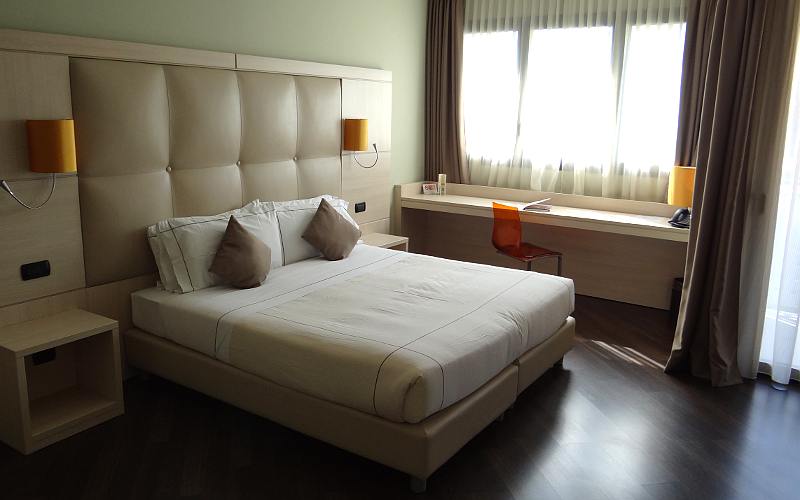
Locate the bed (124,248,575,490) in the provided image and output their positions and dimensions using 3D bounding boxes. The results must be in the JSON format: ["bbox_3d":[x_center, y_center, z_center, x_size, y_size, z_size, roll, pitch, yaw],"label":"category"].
[{"bbox_3d":[-0.460,0.637,3.664,1.910,0.588,1.846,10,16,34],"label":"bed"}]

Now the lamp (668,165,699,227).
[{"bbox_3d":[2.720,-0.522,5.109,0.204,0.555,0.435,8,18,24],"label":"lamp"}]

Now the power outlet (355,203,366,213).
[{"bbox_3d":[-0.425,-0.454,5.683,0.094,0.122,0.173,6,10,32],"label":"power outlet"}]

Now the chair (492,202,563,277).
[{"bbox_3d":[1.391,-0.137,5.607,0.601,1.009,0.541,-12,17,-23],"label":"chair"}]

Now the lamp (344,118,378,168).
[{"bbox_3d":[-0.370,-1.095,5.534,0.225,0.532,0.501,10,18,29],"label":"lamp"}]

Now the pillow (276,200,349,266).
[{"bbox_3d":[-0.791,-0.125,4.695,0.093,0.337,0.495,-16,12,46],"label":"pillow"}]

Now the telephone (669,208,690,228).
[{"bbox_3d":[2.729,-0.291,5.101,0.207,0.069,0.156,-24,30,-36],"label":"telephone"}]
